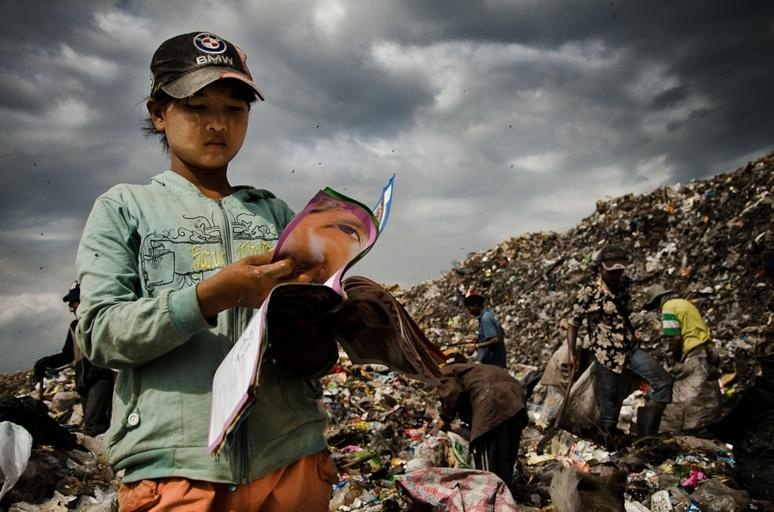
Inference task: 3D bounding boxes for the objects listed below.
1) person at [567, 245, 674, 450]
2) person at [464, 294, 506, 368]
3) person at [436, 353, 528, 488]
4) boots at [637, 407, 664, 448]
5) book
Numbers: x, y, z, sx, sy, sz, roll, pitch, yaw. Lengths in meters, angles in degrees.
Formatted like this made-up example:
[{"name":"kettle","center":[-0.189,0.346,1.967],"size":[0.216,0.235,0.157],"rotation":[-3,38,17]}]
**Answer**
[{"name":"person","center":[2.951,1.121,7.424],"size":[1.241,2.452,0.681],"rotation":[2,-14,18]},{"name":"person","center":[1.637,1.297,9.813],"size":[0.516,1.224,0.536],"rotation":[-13,-43,13]},{"name":"person","center":[1.013,1.832,6.272],"size":[1.101,0.725,1.435],"rotation":[-25,23,18]},{"name":"boots","center":[3.253,2.048,7.193],"size":[0.313,0.399,0.225],"rotation":[-2,-15,31]},{"name":"book","center":[-0.519,0.133,3.520],"size":[0.854,0.626,1.173],"rotation":[15,37,44]}]
